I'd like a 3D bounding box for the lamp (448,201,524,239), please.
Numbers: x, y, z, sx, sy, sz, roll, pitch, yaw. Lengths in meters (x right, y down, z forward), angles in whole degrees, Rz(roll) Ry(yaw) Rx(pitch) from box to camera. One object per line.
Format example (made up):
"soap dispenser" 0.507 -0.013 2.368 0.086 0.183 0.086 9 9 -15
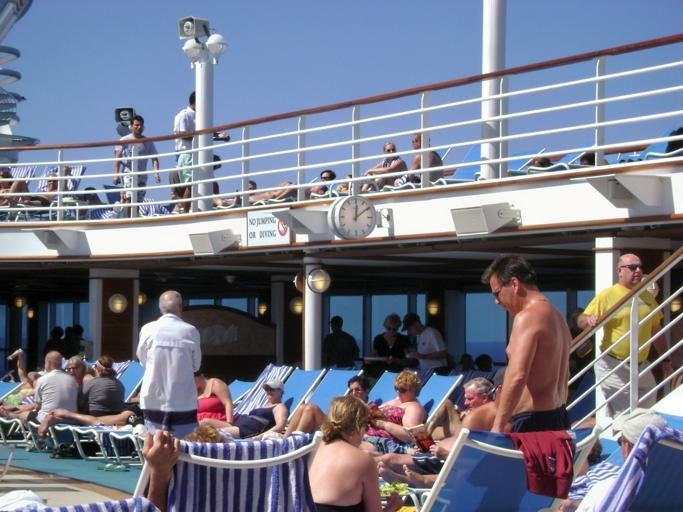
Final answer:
"lamp" 1.678 -0.492 12.160 0.481 0.267 0.480 -12 -2 -37

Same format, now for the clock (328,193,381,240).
"clock" 0.183 -0.471 13.131 0.568 0.589 0.213 2 -2 -32

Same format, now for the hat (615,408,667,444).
"hat" 2.254 1.287 7.901 0.332 0.258 0.451 0 -7 -4

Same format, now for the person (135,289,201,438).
"person" -1.688 1.289 10.363 0.540 1.845 0.590 0 2 -13

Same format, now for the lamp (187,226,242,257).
"lamp" -1.797 -0.176 14.745 0.458 0.294 0.469 -14 9 43

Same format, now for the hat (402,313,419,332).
"hat" 1.073 1.040 16.474 0.308 0.197 0.231 -22 -4 26

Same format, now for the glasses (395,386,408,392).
"glasses" 0.666 1.479 11.608 0.068 0.056 0.080 4 -3 -7
